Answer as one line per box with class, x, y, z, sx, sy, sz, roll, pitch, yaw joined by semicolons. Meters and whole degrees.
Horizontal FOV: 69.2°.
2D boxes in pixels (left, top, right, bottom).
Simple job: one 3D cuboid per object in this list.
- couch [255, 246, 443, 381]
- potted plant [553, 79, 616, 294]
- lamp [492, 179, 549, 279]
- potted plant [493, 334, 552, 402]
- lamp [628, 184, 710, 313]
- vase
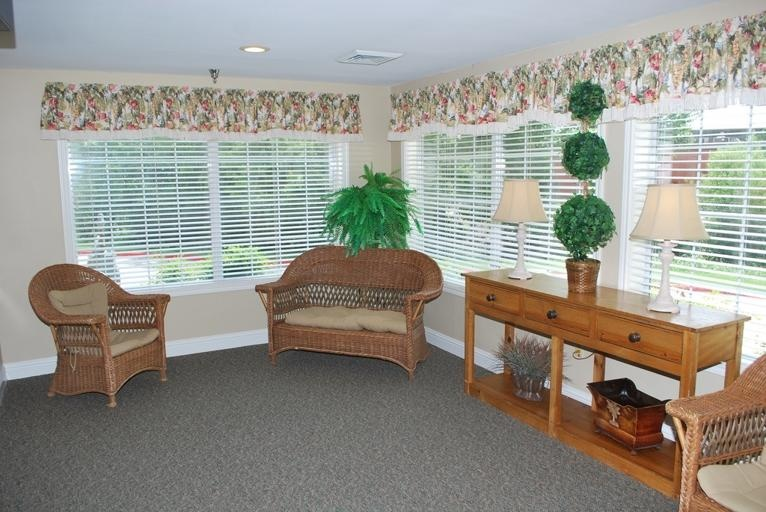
couch;-0.324;0.575;6.108;1.819;1.182;0.931;3;15;18
potted plant;1.674;-0.562;4.584;0.474;1.726;0.638;4;16;22
lamp;1.244;-0.260;5.117;0.475;0.874;0.544;1;15;10
potted plant;1.305;1.041;5.236;0.553;0.505;0.567;2;4;23
lamp;2.070;-0.057;4.053;0.383;0.916;0.375;-9;16;-25
vase;1.884;1.236;4.378;0.497;0.423;0.647;-1;4;-23
